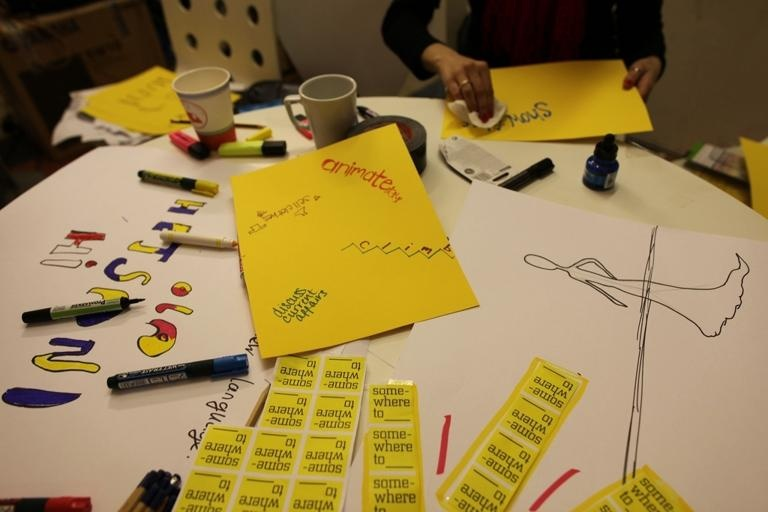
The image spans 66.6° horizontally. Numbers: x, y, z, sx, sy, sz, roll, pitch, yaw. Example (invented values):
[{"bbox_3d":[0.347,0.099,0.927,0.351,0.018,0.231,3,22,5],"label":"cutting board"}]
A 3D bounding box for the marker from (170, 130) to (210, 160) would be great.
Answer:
[{"bbox_3d":[-0.429,-0.247,1.297,0.042,0.035,0.137,-28,46,-30],"label":"marker"}]

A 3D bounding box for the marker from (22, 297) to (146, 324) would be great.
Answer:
[{"bbox_3d":[-0.542,0.094,1.064,0.218,0.021,0.032,-8,44,-2],"label":"marker"}]

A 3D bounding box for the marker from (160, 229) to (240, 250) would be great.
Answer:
[{"bbox_3d":[-0.353,-0.031,1.137,0.132,0.021,0.020,8,3,2],"label":"marker"}]

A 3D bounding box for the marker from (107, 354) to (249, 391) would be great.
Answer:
[{"bbox_3d":[-0.345,0.198,0.993,0.235,0.023,0.027,-7,44,-1],"label":"marker"}]

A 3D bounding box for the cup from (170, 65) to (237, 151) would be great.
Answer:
[{"bbox_3d":[-0.376,-0.353,1.338,0.151,0.167,0.152,-3,46,3],"label":"cup"}]

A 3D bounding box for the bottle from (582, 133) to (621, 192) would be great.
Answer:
[{"bbox_3d":[0.435,-0.191,1.163,0.059,0.112,0.062,-1,46,1],"label":"bottle"}]

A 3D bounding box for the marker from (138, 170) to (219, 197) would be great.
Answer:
[{"bbox_3d":[-0.429,-0.151,1.236,0.154,0.030,0.027,12,3,15],"label":"marker"}]
